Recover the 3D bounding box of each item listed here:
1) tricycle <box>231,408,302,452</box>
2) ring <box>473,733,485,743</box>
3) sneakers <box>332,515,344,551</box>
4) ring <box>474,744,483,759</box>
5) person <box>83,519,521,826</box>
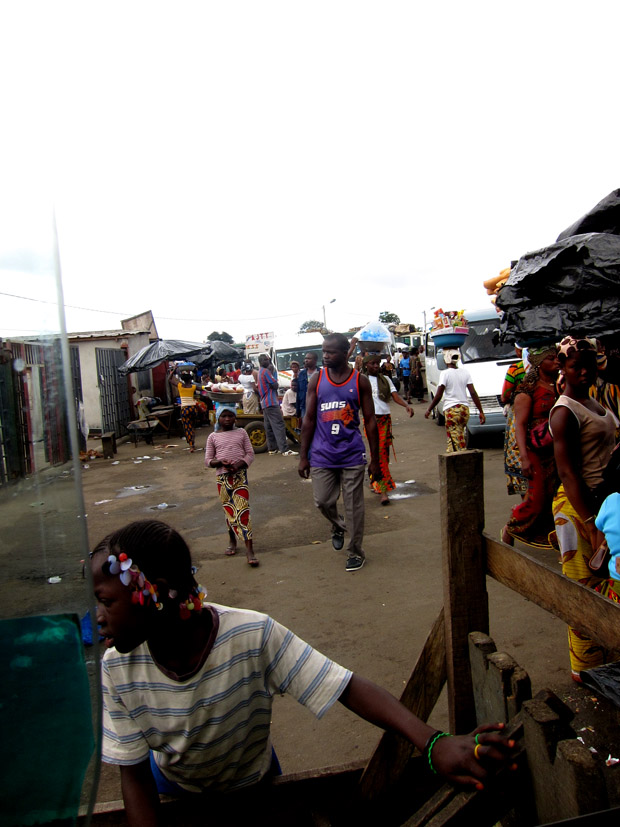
[{"bbox_3d":[-0.977,0.442,12.371,1.450,0.592,0.867,-1,1,-7],"label":"tricycle"},{"bbox_3d":[0.368,0.723,1.192,0.017,0.019,0.008,-21,-31,31],"label":"ring"},{"bbox_3d":[0.281,1.191,5.368,0.148,0.334,0.169,2,5,19],"label":"sneakers"},{"bbox_3d":[0.362,0.742,1.179,0.021,0.024,0.017,-9,6,11],"label":"ring"},{"bbox_3d":[-0.111,0.667,1.353,0.925,0.617,0.356,-8,7,6],"label":"person"}]
